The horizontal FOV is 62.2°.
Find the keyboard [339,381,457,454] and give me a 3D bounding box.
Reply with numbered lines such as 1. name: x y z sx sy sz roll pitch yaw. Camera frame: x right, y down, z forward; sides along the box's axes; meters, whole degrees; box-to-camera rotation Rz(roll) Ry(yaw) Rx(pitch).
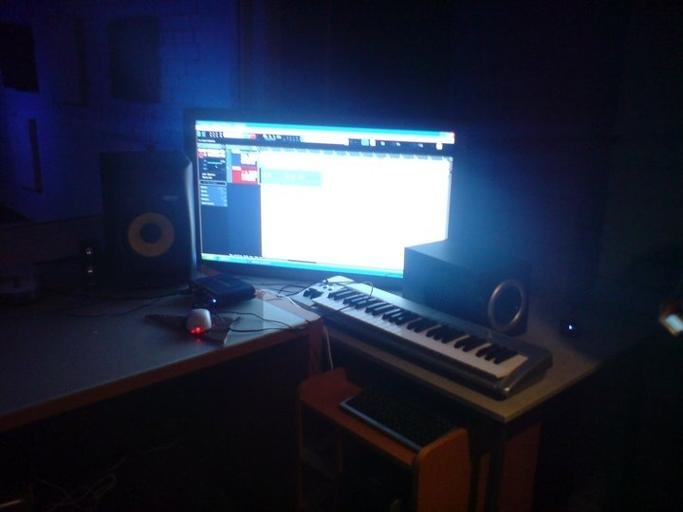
1. keyboard: 0.153 0.428 1.516 0.290 0.067 0.149 11 16 35

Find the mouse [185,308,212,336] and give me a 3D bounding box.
1. mouse: -0.380 0.174 1.514 0.068 0.061 0.059 0 13 -4

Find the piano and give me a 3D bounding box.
1. piano: 0.198 0.209 1.627 0.749 0.161 0.201 11 16 35
